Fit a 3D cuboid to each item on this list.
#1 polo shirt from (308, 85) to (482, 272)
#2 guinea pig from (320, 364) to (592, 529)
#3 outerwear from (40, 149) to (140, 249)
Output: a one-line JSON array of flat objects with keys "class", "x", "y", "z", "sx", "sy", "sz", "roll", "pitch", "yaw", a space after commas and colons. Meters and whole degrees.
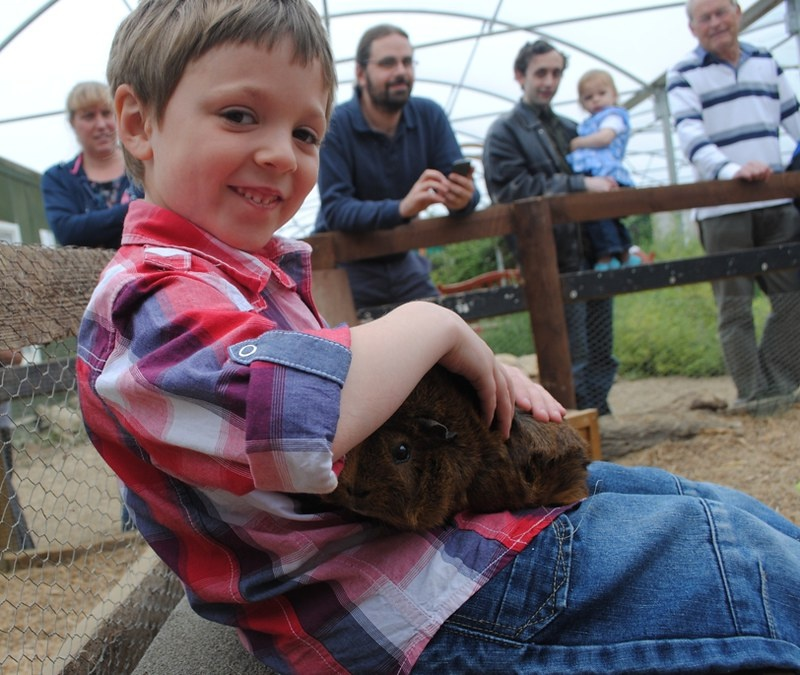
[{"class": "polo shirt", "x": -0.011, "y": -0.730, "z": 3.475, "sx": 0.737, "sy": 0.730, "sz": 0.702, "roll": -6, "pitch": 12, "yaw": -9}, {"class": "guinea pig", "x": 0.069, "y": 0.261, "z": 1.567, "sx": 0.440, "sy": 0.322, "sz": 0.280, "roll": -37, "pitch": 4, "yaw": -29}, {"class": "outerwear", "x": -1.328, "y": -0.612, "z": 3.508, "sx": 0.498, "sy": 0.426, "sz": 0.268, "roll": -6, "pitch": 1, "yaw": -27}]
